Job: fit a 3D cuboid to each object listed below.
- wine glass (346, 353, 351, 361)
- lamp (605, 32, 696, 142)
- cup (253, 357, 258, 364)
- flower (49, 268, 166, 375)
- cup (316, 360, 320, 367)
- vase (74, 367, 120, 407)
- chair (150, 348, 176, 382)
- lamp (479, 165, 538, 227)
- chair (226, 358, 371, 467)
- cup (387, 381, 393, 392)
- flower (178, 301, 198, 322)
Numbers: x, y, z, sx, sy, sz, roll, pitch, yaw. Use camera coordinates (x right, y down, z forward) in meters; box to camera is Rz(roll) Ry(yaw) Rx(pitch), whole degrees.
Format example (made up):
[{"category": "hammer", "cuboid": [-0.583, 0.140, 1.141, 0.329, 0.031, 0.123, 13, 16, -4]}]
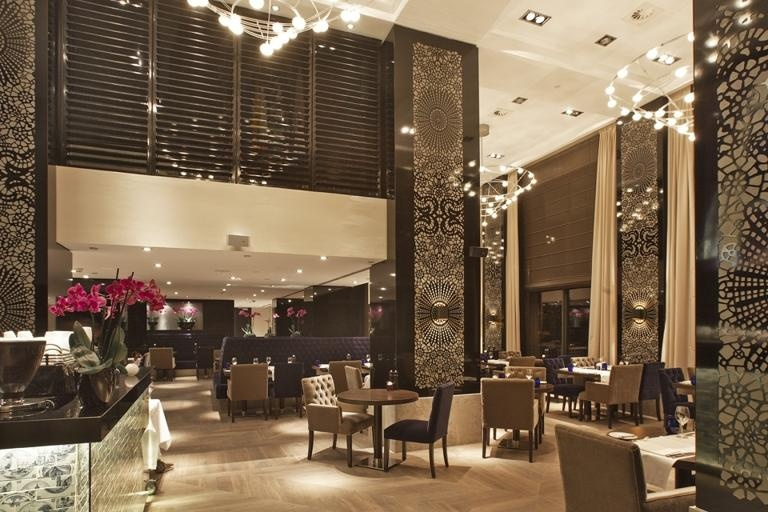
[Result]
[{"category": "wine glass", "cuboid": [-0.736, 2.080, 12.131, 0.129, 0.119, 0.117, 2, -2, -26]}, {"category": "lamp", "cuboid": [4.343, -2.554, 9.515, 1.200, 1.729, 3.356, 0, 0, 25]}, {"category": "cup", "cuboid": [-2.529, 2.059, 11.544, 0.138, 0.138, 0.134, 1, -8, 0]}, {"category": "flower", "cuboid": [-2.511, 0.733, 5.391, 0.833, 0.934, 0.696, 2, -5, -27]}, {"category": "cup", "cuboid": [-1.341, 2.183, 12.037, 0.091, 0.166, 0.092, -1, -6, 0]}, {"category": "vase", "cuboid": [-2.483, 1.145, 5.019, 0.301, 0.392, 0.290, -11, 8, -25]}, {"category": "chair", "cuboid": [-5.431, 2.765, 14.475, 0.677, 0.871, 0.724, -2, -5, -37]}, {"category": "lamp", "cuboid": [2.940, -1.442, 13.896, 1.263, 1.342, 2.346, -1, 0, 10]}, {"category": "chair", "cuboid": [-0.922, 2.199, 8.085, 1.042, 1.454, 1.102, -7, -10, 25]}, {"category": "cup", "cuboid": [0.098, 1.789, 8.071, 0.088, 0.092, 0.082, 1, -2, 0]}, {"category": "flower", "cuboid": [-5.734, 1.634, 17.204, 0.553, 0.543, 0.555, -6, -8, 17]}]
